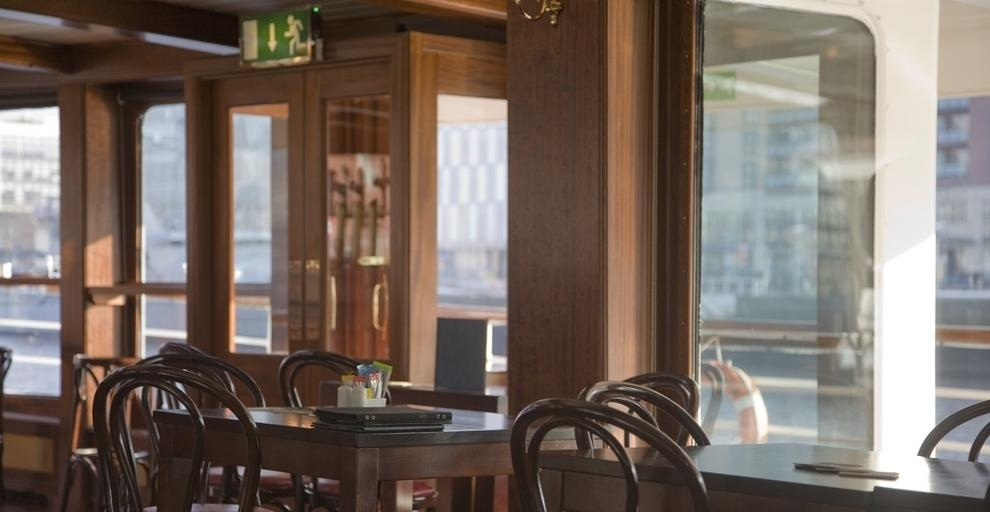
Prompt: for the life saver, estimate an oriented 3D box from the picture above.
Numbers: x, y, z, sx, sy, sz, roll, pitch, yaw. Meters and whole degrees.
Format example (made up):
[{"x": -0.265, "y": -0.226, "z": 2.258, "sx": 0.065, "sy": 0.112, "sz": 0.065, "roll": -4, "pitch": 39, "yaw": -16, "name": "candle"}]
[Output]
[{"x": 1.435, "y": 0.843, "z": 6.033, "sx": 0.375, "sy": 0.571, "sz": 0.292, "roll": 1, "pitch": 1, "yaw": -10, "name": "life saver"}]
